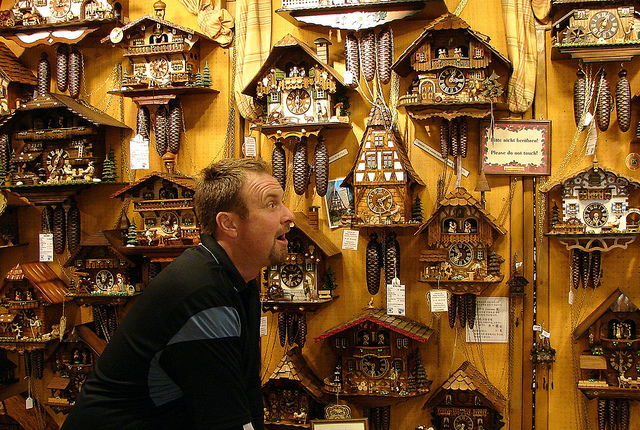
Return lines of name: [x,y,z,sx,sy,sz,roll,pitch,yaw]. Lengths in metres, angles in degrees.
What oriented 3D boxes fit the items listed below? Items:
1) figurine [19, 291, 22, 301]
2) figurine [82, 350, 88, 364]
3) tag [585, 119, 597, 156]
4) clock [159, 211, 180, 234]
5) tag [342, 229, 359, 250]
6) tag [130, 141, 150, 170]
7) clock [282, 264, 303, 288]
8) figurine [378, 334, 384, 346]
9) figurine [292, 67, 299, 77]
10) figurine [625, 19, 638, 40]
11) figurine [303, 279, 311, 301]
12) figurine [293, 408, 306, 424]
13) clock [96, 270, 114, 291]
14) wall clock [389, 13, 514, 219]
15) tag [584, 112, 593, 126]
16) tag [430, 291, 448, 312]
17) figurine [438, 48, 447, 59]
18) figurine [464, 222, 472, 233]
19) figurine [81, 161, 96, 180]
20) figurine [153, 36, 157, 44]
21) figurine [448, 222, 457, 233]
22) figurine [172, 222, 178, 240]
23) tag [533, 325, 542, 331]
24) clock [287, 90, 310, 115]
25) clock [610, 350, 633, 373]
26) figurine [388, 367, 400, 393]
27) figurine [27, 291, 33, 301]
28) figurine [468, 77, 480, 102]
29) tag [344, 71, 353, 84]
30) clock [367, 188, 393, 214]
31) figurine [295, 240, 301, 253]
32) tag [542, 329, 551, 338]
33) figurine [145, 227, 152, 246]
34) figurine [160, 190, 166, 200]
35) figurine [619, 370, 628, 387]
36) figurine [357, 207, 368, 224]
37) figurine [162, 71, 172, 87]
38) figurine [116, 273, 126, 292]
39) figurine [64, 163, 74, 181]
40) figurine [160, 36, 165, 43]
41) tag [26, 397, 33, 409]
figurine: [-3.277,0.892,13.051,0.035,0.089,0.016,2,-6,5]
figurine: [-2.537,1.524,12.865,0.062,0.147,0.032,2,-6,9]
tag: [2.811,-0.787,12.289,0.112,0.343,0.197,2,-6,9]
clock: [-1.587,0.083,12.646,0.230,0.253,0.068,1,-2,5]
tag: [0.329,0.261,12.547,0.188,0.251,0.029,6,-7,11]
tag: [-1.942,-0.641,12.835,0.295,0.412,0.045,0,0,-1]
clock: [-0.297,0.648,12.544,0.220,0.224,0.223,8,-24,1]
figurine: [0.636,1.272,12.278,0.065,0.088,0.024,0,-1,15]
figurine: [-0.251,-1.479,12.460,0.098,0.143,0.059,1,5,8]
figurine: [3.153,-1.854,12.029,0.117,0.199,0.029,3,-6,-2]
figurine: [-0.128,0.783,12.447,0.071,0.222,0.044,3,-6,3]
figurine: [-0.202,2.053,12.243,0.118,0.162,0.045,3,-6,4]
clock: [-2.310,0.697,12.842,0.168,0.171,0.043,21,6,10]
wall clock: [1.394,-0.977,12.270,1.214,2.013,0.746,-1,0,14]
tag: [2.764,-0.980,12.268,0.026,0.108,0.107,12,30,-35]
tag: [1.239,0.880,12.251,0.199,0.228,0.031,-1,-5,5]
figurine: [1.268,-1.631,12.191,0.079,0.112,0.037,3,-6,0]
figurine: [1.519,0.131,12.106,0.085,0.129,0.074,-1,4,9]
figurine: [-2.500,-0.482,12.950,0.141,0.246,0.128,4,0,-2]
figurine: [-1.770,-1.863,12.797,0.071,0.073,0.019,1,4,-5]
figurine: [1.363,0.133,12.175,0.116,0.126,0.072,1,-1,7]
figurine: [-1.531,0.172,12.626,0.067,0.180,0.024,1,-6,22]
tag: [2.268,1.170,12.392,0.084,0.058,0.015,2,-6,9]
clock: [-0.210,-1.172,12.472,0.226,0.257,0.035,5,0,3]
clock: [3.097,1.487,12.167,0.166,0.168,0.029,35,5,10]
figurine: [0.772,1.694,12.276,0.114,0.245,0.032,3,-6,0]
figurine: [-3.176,0.886,13.033,0.078,0.147,0.079,0,8,-18]
figurine: [1.575,-1.278,12.162,0.057,0.212,0.116,-4,-31,45]
tag: [0.301,-1.413,12.350,0.099,0.182,0.105,1,0,5]
clock: [0.635,-0.142,12.310,0.249,0.282,0.047,2,1,14]
figurine: [-0.233,0.331,12.417,0.047,0.111,0.015,4,-6,-6]
tag: [2.356,1.231,12.379,0.073,0.054,0.008,20,-4,13]
figurine: [-1.816,0.225,12.657,0.083,0.182,0.061,2,-6,6]
figurine: [-1.667,-0.211,12.653,0.076,0.094,0.021,-2,-8,37]
figurine: [3.100,1.654,12.125,0.075,0.168,0.064,3,-6,4]
figurine: [0.445,0.003,12.333,0.138,0.132,0.034,0,-4,14]
figurine: [-1.644,-1.441,12.803,0.134,0.137,0.044,11,2,27]
figurine: [-2.133,0.725,12.803,0.103,0.200,0.034,4,-6,-11]
figurine: [-2.735,-0.468,12.977,0.117,0.174,0.030,2,-6,10]
figurine: [-1.682,-1.863,12.780,0.040,0.070,0.018,2,-6,6]
tag: [-3.204,2.064,13.151,0.093,0.116,0.062,7,-7,-33]
